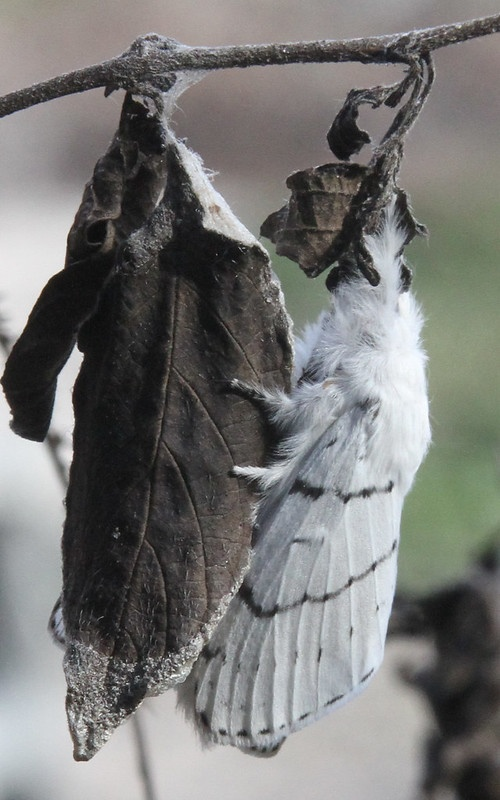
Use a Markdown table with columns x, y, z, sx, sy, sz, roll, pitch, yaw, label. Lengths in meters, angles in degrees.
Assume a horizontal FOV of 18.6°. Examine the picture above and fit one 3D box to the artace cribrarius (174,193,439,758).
| x | y | z | sx | sy | sz | roll | pitch | yaw | label |
| --- | --- | --- | --- | --- | --- | --- | --- | --- | --- |
| 0.040 | 0.058 | 1.028 | 0.130 | 0.373 | 0.132 | 18 | 2 | -24 | artace cribrarius |
